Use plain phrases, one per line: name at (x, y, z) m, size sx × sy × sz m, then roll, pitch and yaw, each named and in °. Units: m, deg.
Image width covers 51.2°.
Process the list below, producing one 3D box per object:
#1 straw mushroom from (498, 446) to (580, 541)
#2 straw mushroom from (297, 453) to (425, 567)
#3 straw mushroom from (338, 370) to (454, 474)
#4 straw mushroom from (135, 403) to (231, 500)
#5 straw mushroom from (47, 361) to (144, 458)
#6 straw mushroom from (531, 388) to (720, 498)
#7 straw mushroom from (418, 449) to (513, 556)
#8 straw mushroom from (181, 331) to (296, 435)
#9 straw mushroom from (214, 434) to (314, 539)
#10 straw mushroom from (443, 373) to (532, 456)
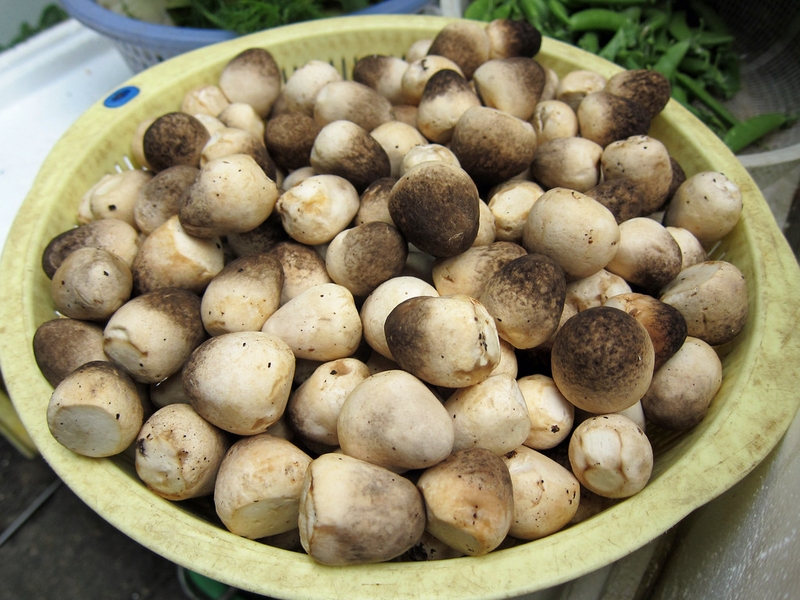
straw mushroom at (0.260, 0.320, 1.541) m, size 0.123 × 0.125 × 0.068 m, roll 46°, pitch 60°, yaw -20°
straw mushroom at (-0.064, 0.374, 1.450) m, size 0.214 × 0.130 × 0.184 m, roll 11°, pitch 78°, yaw 3°
straw mushroom at (0.006, 0.220, 1.527) m, size 0.212 × 0.148 × 0.197 m, roll -2°, pitch 40°, yaw 22°
straw mushroom at (-0.418, 0.289, 1.563) m, size 0.151 × 0.201 × 0.161 m, roll 10°, pitch 100°, yaw 9°
straw mushroom at (-0.570, 0.200, 1.578) m, size 0.168 × 0.222 × 0.167 m, roll 5°, pitch 108°, yaw -20°
straw mushroom at (0.354, 0.253, 1.475) m, size 0.121 × 0.089 × 0.158 m, roll -32°, pitch 74°, yaw 11°
straw mushroom at (0.121, 0.347, 1.482) m, size 0.171 × 0.093 × 0.164 m, roll -45°, pitch 79°, yaw -2°
straw mushroom at (-0.279, 0.146, 1.530) m, size 0.179 × 0.102 × 0.183 m, roll 31°, pitch 78°, yaw 10°
straw mushroom at (-0.217, 0.337, 1.554) m, size 0.230 × 0.228 × 0.174 m, roll 11°, pitch 72°, yaw -7°
straw mushroom at (0.160, 0.213, 1.558) m, size 0.152 × 0.113 × 0.121 m, roll -15°, pitch 103°, yaw -17°
